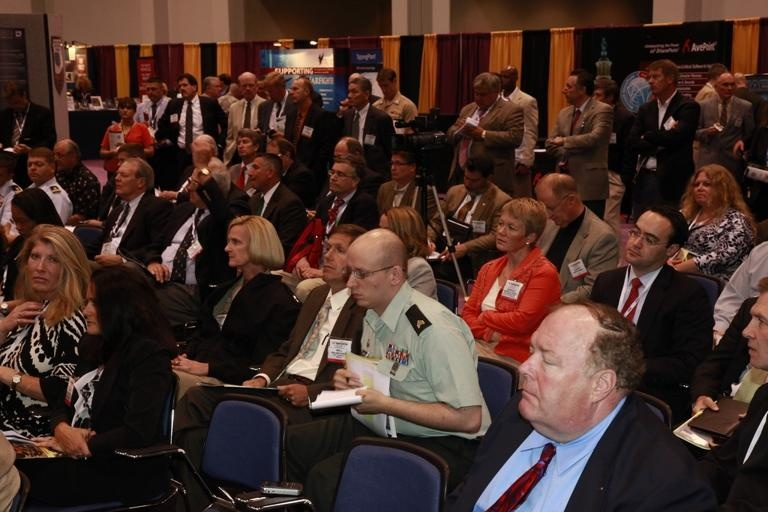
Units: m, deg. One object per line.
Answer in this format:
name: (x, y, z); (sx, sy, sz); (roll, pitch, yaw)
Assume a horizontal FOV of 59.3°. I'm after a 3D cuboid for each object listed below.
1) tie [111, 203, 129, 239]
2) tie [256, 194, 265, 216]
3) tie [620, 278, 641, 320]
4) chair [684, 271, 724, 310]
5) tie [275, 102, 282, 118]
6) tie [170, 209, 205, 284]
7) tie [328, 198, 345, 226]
tie: (-2.834, -0.353, 7.176); (0.091, 0.410, 0.103); (38, -22, -27)
tie: (-1.369, -0.561, 7.458); (0.155, 0.221, 0.077); (-2, -6, 16)
tie: (1.738, 0.291, 4.734); (0.106, 0.058, 0.388); (13, 49, 24)
chair: (2.303, 0.259, 4.862); (0.225, 0.290, 0.195); (-7, 13, -35)
tie: (-1.544, -2.111, 9.752); (0.094, 0.175, 0.041); (10, 2, 26)
tie: (-1.991, -0.118, 6.615); (0.180, 0.805, 0.101); (7, 2, -2)
tie: (-0.548, -0.510, 7.171); (0.092, 0.122, 0.416); (14, 56, 12)
